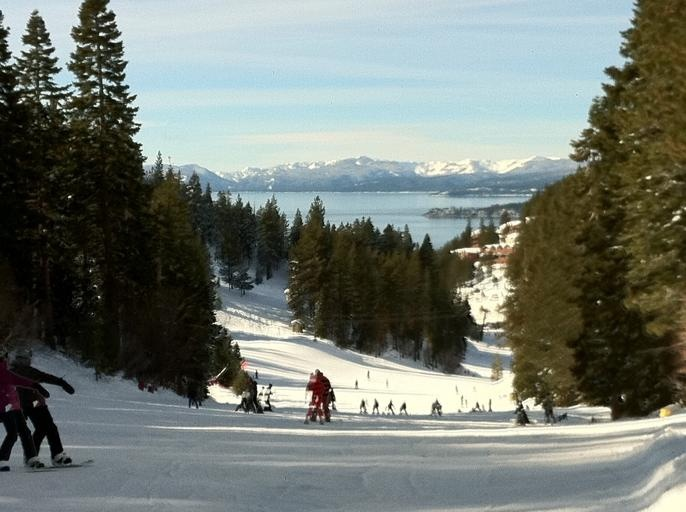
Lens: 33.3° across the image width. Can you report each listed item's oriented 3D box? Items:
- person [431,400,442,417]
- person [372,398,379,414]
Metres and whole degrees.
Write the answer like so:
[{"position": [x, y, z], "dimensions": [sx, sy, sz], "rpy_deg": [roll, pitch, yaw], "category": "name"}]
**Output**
[{"position": [5.897, 9.633, 73.251], "dimensions": [0.575, 0.767, 1.159], "rpy_deg": [1, 3, 22], "category": "person"}, {"position": [2.103, 9.778, 75.022], "dimensions": [0.368, 0.578, 1.121], "rpy_deg": [1, 10, 5], "category": "person"}]
